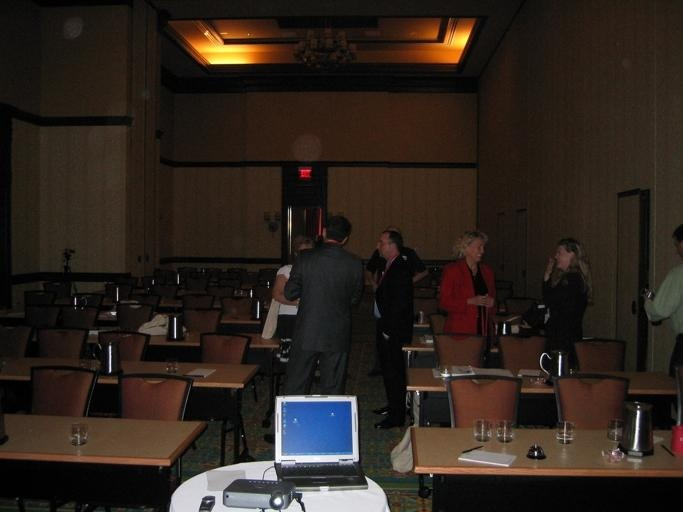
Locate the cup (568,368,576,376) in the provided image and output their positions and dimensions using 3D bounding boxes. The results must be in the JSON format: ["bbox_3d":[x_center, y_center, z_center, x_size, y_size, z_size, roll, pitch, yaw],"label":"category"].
[{"bbox_3d":[1.777,0.897,4.814,0.044,0.047,0.047,-6,11,1],"label":"cup"}]

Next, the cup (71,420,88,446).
[{"bbox_3d":[-1.660,1.121,3.945,0.099,0.134,0.150,3,-5,-23],"label":"cup"}]

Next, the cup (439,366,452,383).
[{"bbox_3d":[0.846,0.977,5.162,0.107,0.136,0.112,-1,4,0],"label":"cup"}]

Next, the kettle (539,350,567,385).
[{"bbox_3d":[1.733,0.866,4.981,0.256,0.274,0.182,1,-2,4],"label":"kettle"}]

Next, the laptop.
[{"bbox_3d":[-0.128,1.029,3.685,0.639,0.486,0.563,0,-1,-4],"label":"laptop"}]

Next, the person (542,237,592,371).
[{"bbox_3d":[2.128,0.408,6.009,0.370,1.454,0.468,5,3,13],"label":"person"}]

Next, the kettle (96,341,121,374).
[{"bbox_3d":[-1.891,0.833,5.099,0.172,0.257,0.167,2,-4,-17],"label":"kettle"}]

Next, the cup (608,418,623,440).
[{"bbox_3d":[1.759,1.130,4.065,0.093,0.124,0.111,-2,-2,-6],"label":"cup"}]

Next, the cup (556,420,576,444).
[{"bbox_3d":[1.431,1.134,3.989,0.106,0.135,0.118,0,-6,-2],"label":"cup"}]

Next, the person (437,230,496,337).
[{"bbox_3d":[1.228,0.313,5.996,0.354,1.189,0.433,4,2,-11],"label":"person"}]

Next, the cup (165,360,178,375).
[{"bbox_3d":[-1.383,0.908,5.082,0.099,0.111,0.106,0,-6,0],"label":"cup"}]

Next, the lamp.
[{"bbox_3d":[-0.393,-4.332,12.442,1.021,0.999,1.442,3,2,-31],"label":"lamp"}]

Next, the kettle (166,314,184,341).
[{"bbox_3d":[-1.676,0.720,6.291,0.203,0.268,0.205,-2,3,-42],"label":"kettle"}]

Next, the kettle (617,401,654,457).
[{"bbox_3d":[1.810,1.046,3.893,0.236,0.346,0.187,0,-1,5],"label":"kettle"}]
